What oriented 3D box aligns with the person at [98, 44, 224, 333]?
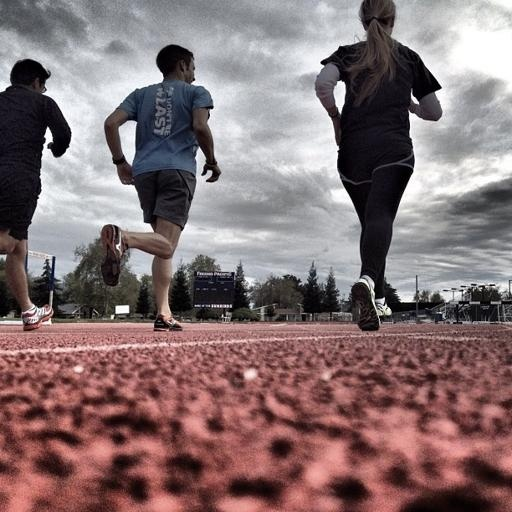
[{"bbox_3d":[-0.953,-0.749,3.738,1.129,3.013,1.459,5,-5,-23],"label":"person"}]
